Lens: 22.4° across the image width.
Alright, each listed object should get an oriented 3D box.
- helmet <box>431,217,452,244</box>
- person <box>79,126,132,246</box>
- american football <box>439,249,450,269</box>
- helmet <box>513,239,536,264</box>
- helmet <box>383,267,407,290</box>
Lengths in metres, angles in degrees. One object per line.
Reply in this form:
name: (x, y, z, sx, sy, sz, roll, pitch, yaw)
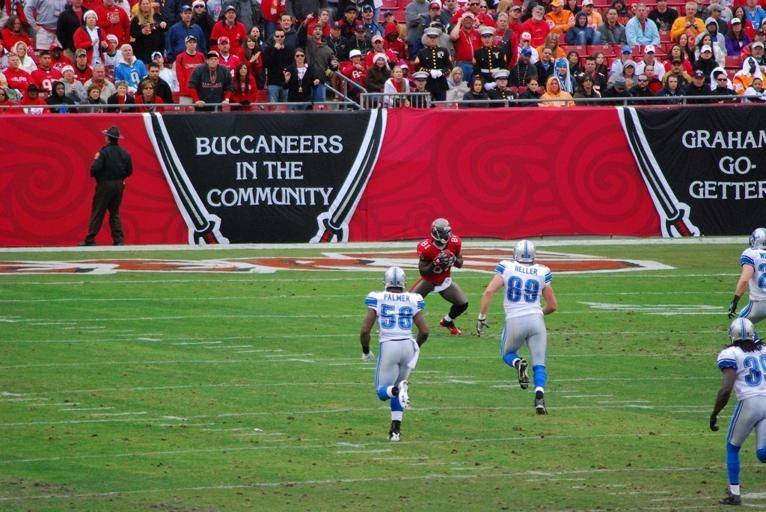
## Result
helmet: (1.256, -0.515, 42.471, 0.395, 0.591, 0.543, 1, 6, 3)
person: (-6.967, -1.755, 49.637, 1.137, 3.081, 1.295, -1, 6, -8)
american football: (1.368, 0.054, 42.589, 0.259, 0.291, 0.306, -2, -11, 8)
helmet: (2.873, -0.088, 39.995, 0.443, 0.401, 0.515, 2, 7, 2)
helmet: (0.235, 0.414, 38.558, 0.399, 0.339, 0.447, 3, 17, 1)
